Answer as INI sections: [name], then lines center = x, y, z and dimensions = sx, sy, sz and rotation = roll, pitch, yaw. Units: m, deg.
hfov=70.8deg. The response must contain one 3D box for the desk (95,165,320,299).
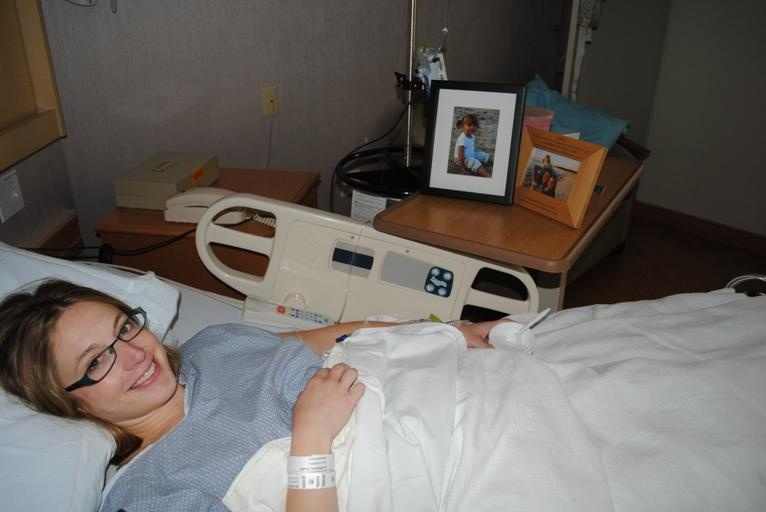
[desk]
center = -0.858, -0.039, 2.822
dimensions = 1.098, 0.817, 0.645
rotation = 3, 31, -4

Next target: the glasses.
[glasses]
center = -0.841, 0.302, 1.650
dimensions = 0.209, 0.064, 0.209
rotation = -25, 29, 34

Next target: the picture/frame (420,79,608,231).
[picture/frame]
center = 0.506, -0.389, 2.169
dimensions = 0.757, 0.562, 0.306
rotation = 18, 41, 12
